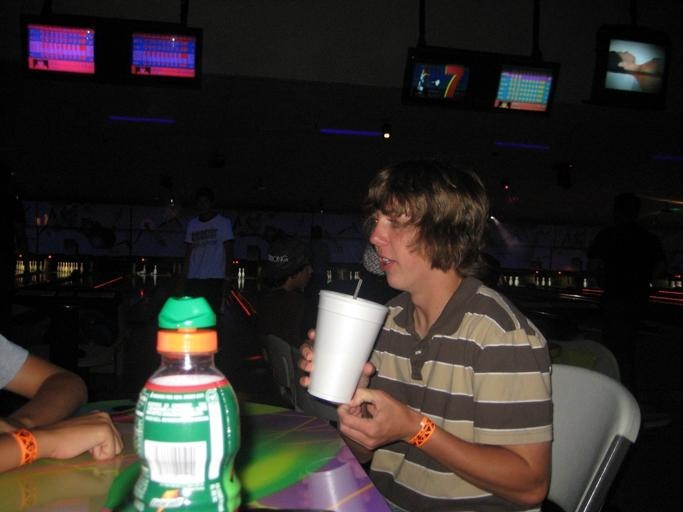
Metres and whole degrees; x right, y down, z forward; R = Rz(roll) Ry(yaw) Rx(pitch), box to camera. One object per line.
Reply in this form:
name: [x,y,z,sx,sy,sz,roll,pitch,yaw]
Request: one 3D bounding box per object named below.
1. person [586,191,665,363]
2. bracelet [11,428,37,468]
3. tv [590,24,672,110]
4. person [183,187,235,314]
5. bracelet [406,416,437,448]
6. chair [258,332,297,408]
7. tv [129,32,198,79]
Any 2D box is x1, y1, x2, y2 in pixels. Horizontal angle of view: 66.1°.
person: [2.522,0.197,4.729,0.612,1.503,0.384,6,8,23]
bracelet: [-0.950,0.590,1.616,0.033,0.086,0.092,-9,24,-20]
tv: [2.655,-1.668,5.014,0.685,0.715,0.730,10,-3,22]
person: [-1.332,-0.018,5.306,0.466,1.322,0.478,1,7,-18]
bracelet: [0.268,0.583,1.729,0.036,0.095,0.079,40,28,-1]
chair: [-0.427,0.648,2.981,0.240,0.314,0.279,-26,-16,9]
tv: [-1.528,-1.730,4.686,0.577,0.353,0.324,4,2,6]
